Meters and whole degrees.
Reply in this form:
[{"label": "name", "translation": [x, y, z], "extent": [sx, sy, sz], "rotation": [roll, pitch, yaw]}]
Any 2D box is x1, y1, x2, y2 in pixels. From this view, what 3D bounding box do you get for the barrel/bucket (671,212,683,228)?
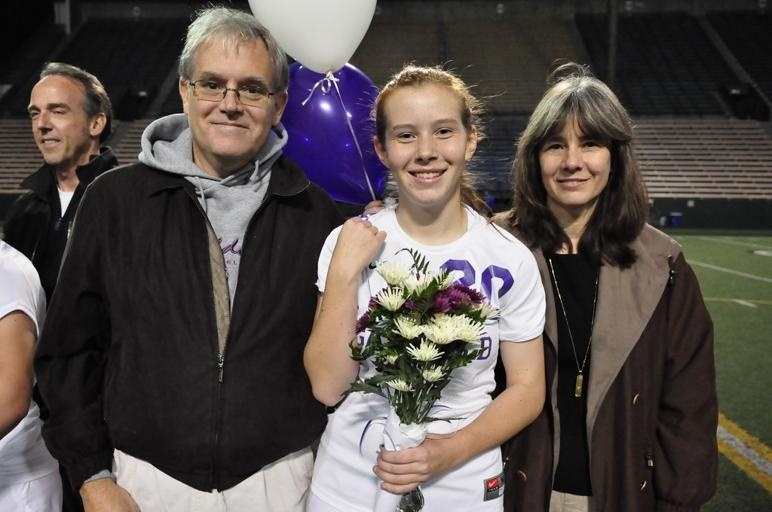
[{"label": "barrel/bucket", "translation": [6.997, -0.873, 19.616], "extent": [0.344, 0.323, 0.183], "rotation": [-2, 3, 0]}]
